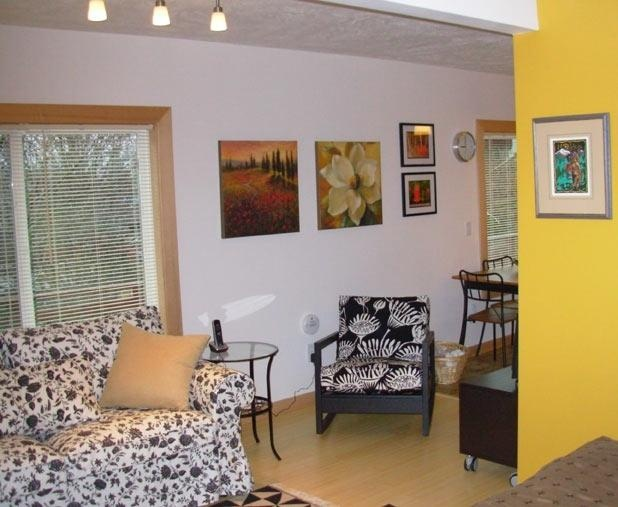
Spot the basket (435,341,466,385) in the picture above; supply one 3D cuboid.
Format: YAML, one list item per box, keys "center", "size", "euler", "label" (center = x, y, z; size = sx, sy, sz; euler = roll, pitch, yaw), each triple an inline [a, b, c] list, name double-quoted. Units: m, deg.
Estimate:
- center: [1.331, 1.057, 5.016]
  size: [0.325, 0.254, 0.339]
  euler: [-2, 2, -9]
  label: "basket"

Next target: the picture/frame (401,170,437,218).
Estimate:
- center: [1.130, -0.623, 5.310]
  size: [0.402, 0.432, 0.019]
  euler: [2, 7, 45]
  label: "picture/frame"

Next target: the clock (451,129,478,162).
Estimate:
- center: [1.728, -1.180, 5.671]
  size: [0.075, 0.316, 0.300]
  euler: [-11, 15, -21]
  label: "clock"

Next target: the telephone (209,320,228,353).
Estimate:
- center: [-0.645, 0.591, 3.709]
  size: [0.112, 0.209, 0.162]
  euler: [-4, 6, -33]
  label: "telephone"

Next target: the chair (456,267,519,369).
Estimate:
- center: [1.934, 0.585, 5.482]
  size: [0.589, 0.962, 0.513]
  euler: [-16, 18, -40]
  label: "chair"

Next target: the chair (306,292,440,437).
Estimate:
- center: [0.534, 0.796, 4.033]
  size: [0.803, 0.996, 1.097]
  euler: [-1, -1, 11]
  label: "chair"

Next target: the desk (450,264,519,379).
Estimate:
- center: [1.824, 0.655, 5.507]
  size: [0.503, 0.760, 0.533]
  euler: [13, 1, 27]
  label: "desk"

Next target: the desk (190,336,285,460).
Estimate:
- center: [-0.399, 1.095, 3.790]
  size: [0.535, 0.667, 0.557]
  euler: [-7, -5, 0]
  label: "desk"

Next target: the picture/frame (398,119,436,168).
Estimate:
- center: [1.073, -1.132, 5.252]
  size: [0.498, 0.483, 0.049]
  euler: [-4, 3, -42]
  label: "picture/frame"
